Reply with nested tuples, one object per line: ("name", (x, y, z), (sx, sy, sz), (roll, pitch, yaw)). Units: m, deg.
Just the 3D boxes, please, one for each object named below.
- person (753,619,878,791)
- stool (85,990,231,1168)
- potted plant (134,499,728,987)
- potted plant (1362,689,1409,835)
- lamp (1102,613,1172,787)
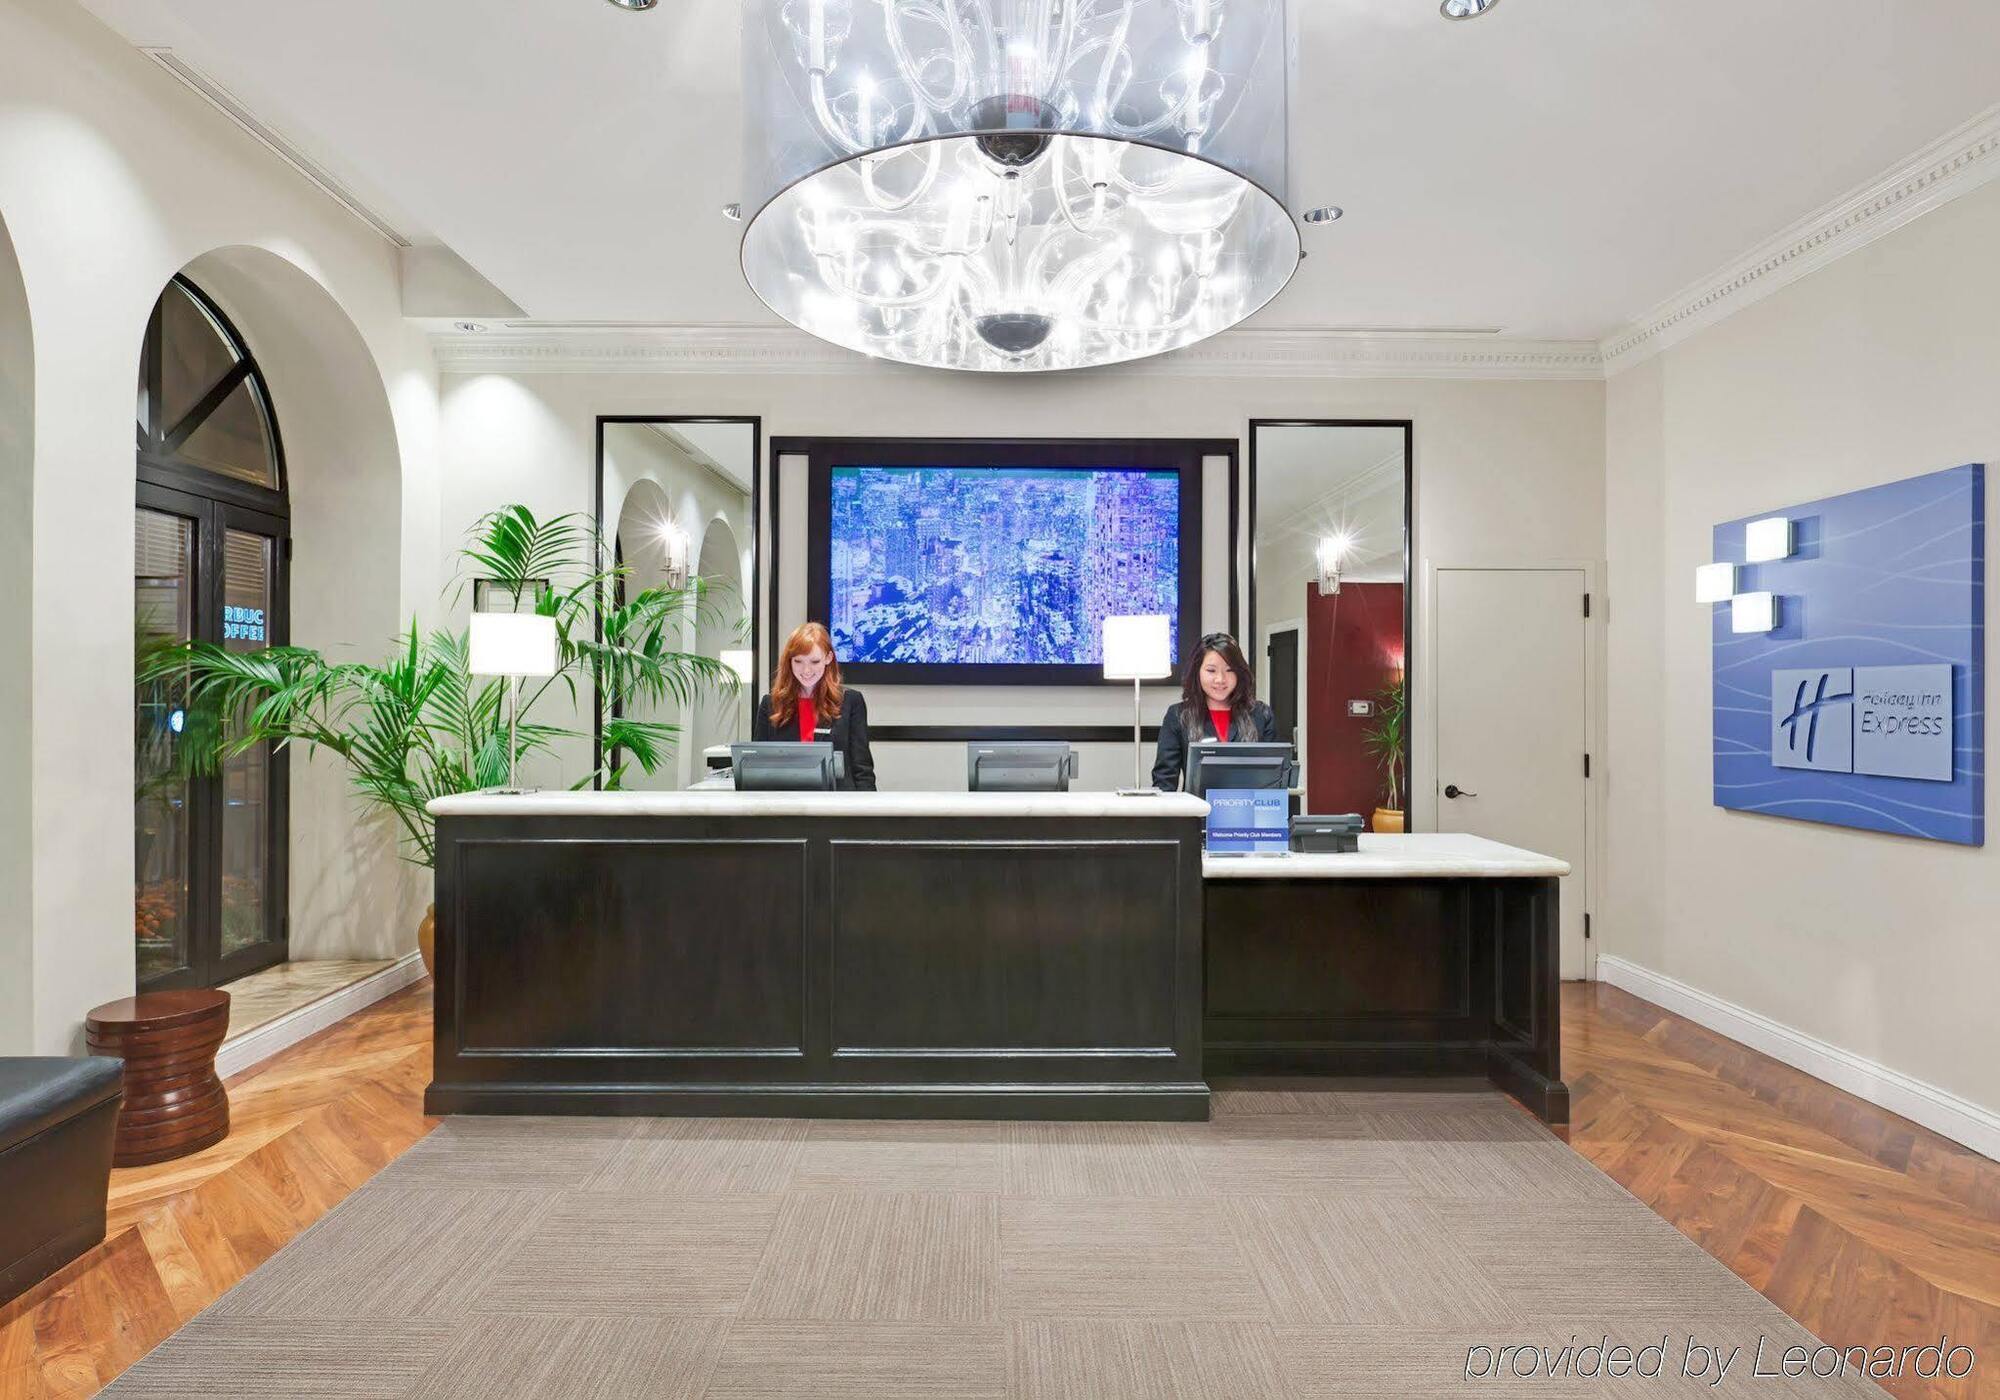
("person", (-0.938, 0.320, 6.836), (0.643, 1.400, 0.375), (-3, -31, -5))
("stool", (-3.291, 1.533, 5.584), (0.494, 0.671, 0.568), (2, -5, -14))
("potted plant", (-2.786, -0.070, 7.024), (2.784, 1.999, 1.650), (-1, 2, -35))
("potted plant", (2.257, 0.333, 7.865), (0.247, 0.836, 0.154), (1, 2, 39))
("lamp", (0.706, 0.016, 7.017), (0.372, 0.923, 1.612), (0, 1, 7))
